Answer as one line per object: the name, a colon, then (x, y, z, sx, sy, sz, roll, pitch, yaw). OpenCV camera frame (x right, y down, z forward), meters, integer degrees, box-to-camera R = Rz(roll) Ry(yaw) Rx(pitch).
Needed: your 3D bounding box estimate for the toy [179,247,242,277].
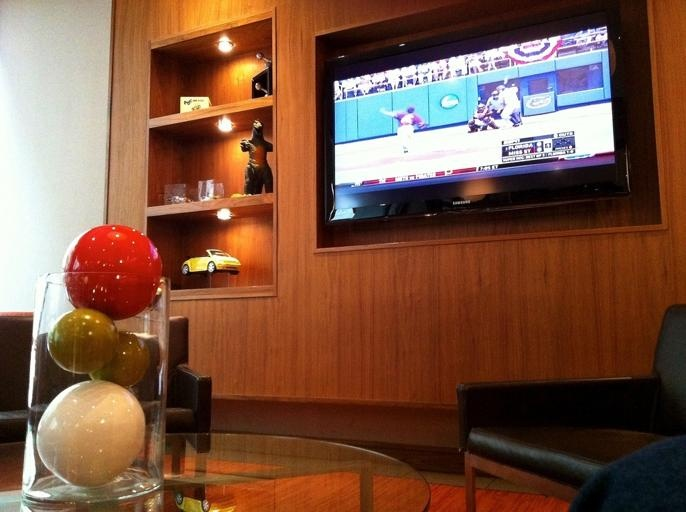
toy: (-0.830, 0.030, 3.615, 0.329, 0.152, 0.175, -7, -11, 28)

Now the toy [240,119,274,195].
toy: (-0.521, -0.593, 3.448, 0.182, 0.374, 0.131, -3, 1, -4)
